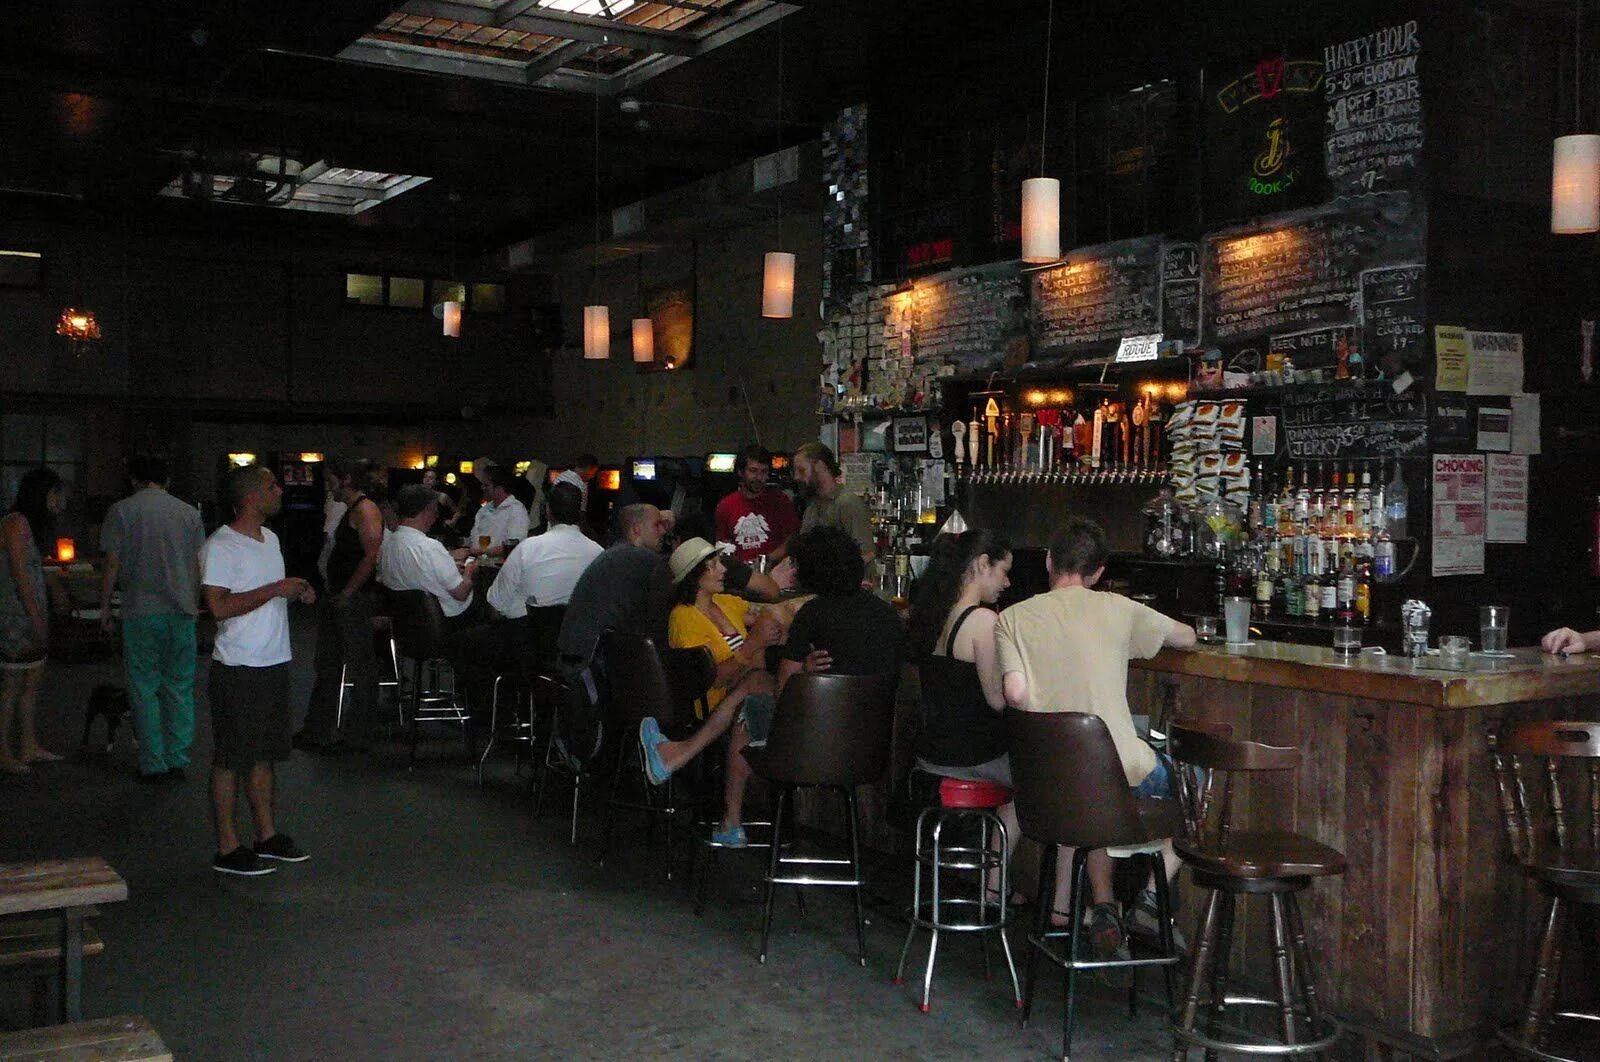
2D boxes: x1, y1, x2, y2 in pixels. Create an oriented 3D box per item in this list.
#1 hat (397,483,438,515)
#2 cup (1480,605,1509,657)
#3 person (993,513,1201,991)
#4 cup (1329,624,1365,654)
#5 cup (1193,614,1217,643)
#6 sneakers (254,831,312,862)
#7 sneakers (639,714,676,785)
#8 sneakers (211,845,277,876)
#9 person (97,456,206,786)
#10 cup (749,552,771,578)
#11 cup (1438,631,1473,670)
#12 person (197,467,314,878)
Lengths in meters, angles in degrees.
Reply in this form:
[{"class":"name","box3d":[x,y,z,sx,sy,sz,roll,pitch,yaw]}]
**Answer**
[{"class":"hat","box3d":[-2.587,-0.209,9.299,0.257,0.206,0.278,0,0,-15]},{"class":"cup","box3d":[3.104,0.437,6.191,0.102,0.225,0.091,0,0,9]},{"class":"person","box3d":[1.327,0.923,6.131,0.919,1.967,0.729,0,0,-7]},{"class":"cup","box3d":[2.499,0.483,6.286,0.132,0.137,0.131,1,2,0]},{"class":"cup","box3d":[1.961,0.465,6.701,0.138,0.155,0.138,-1,1,0]},{"class":"sneakers","box3d":[-2.838,1.720,7.572,0.261,0.104,0.145,2,-3,8]},{"class":"sneakers","box3d":[-0.744,1.118,7.126,0.147,0.366,0.137,-6,-7,18]},{"class":"sneakers","box3d":[-2.990,1.748,7.410,0.263,0.101,0.161,1,-3,8]},{"class":"person","box3d":[-4.138,0.542,8.801,0.548,1.782,0.314,0,0,-27]},{"class":"cup","box3d":[-0.254,0.201,8.697,0.105,0.142,0.104,0,5,0]},{"class":"cup","box3d":[2.855,0.517,6.054,0.157,0.166,0.159,0,-1,0]},{"class":"person","box3d":[-2.939,0.735,7.419,0.516,1.936,0.380,0,0,-24]}]
